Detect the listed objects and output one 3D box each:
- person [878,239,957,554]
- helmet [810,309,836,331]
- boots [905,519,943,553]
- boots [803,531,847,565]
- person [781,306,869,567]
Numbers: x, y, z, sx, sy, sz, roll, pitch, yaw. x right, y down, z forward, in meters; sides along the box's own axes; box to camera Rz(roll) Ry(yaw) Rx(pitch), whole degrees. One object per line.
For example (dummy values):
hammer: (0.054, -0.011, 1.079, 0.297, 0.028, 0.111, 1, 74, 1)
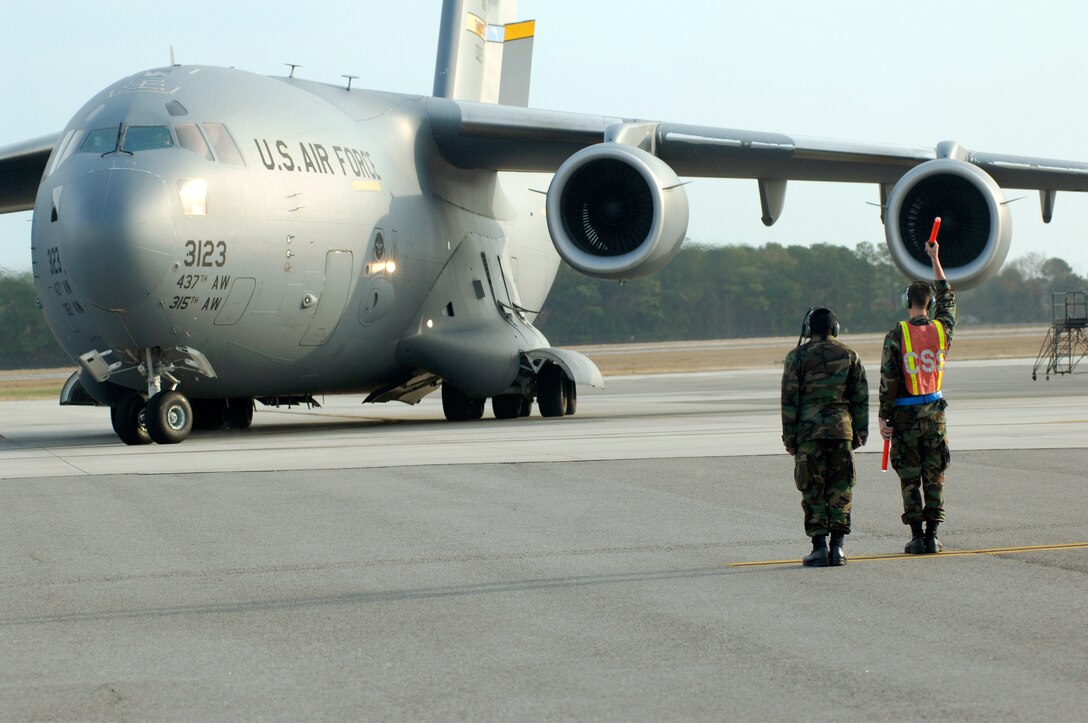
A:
person: (2.823, 0.407, 10.419, 0.511, 1.943, 1.047, 1, 7, 16)
helmet: (2.091, -0.286, 10.290, 0.158, 0.172, 0.184, -2, 6, 10)
boots: (2.813, 1.286, 10.167, 0.259, 0.224, 0.341, 1, 7, 16)
boots: (2.008, 1.338, 9.910, 0.234, 0.249, 0.279, -1, 3, -8)
person: (2.069, 0.534, 10.109, 0.611, 1.775, 0.945, 0, 7, 10)
